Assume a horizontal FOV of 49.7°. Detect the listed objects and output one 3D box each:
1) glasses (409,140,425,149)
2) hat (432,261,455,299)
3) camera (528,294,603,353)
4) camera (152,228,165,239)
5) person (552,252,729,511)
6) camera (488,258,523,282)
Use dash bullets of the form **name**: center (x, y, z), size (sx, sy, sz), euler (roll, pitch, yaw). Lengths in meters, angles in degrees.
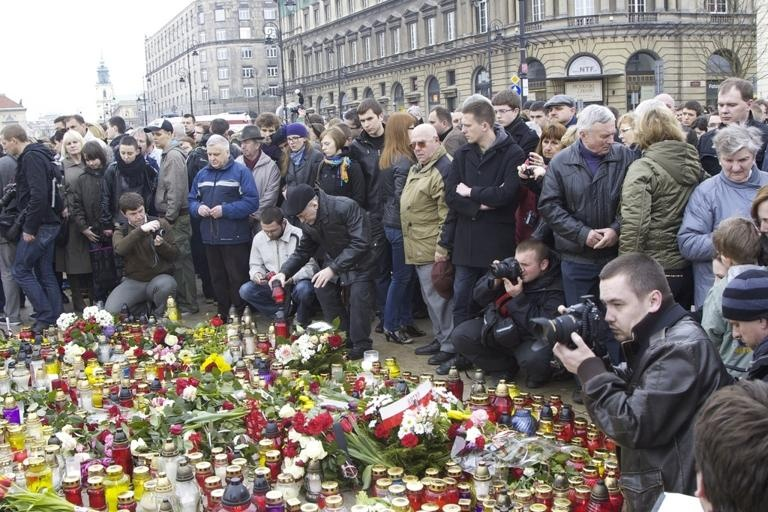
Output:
- **glasses**: center (0.386, -1.313, 9.778), size (0.202, 0.068, 0.209), euler (-2, -8, 28)
- **hat**: center (0.693, 0.280, 9.609), size (0.281, 0.390, 0.132), euler (-4, 10, 29)
- **camera**: center (1.464, 0.544, 6.566), size (0.551, 0.332, 0.517), euler (-17, 9, -22)
- **camera**: center (-3.218, -0.314, 11.738), size (0.175, 0.073, 0.107), euler (-6, 2, 31)
- **person**: center (2.003, 1.005, 6.277), size (1.156, 2.025, 0.573), euler (-1, 4, 22)
- **camera**: center (1.267, 0.150, 8.686), size (0.256, 0.160, 0.248), euler (2, 1, -39)
